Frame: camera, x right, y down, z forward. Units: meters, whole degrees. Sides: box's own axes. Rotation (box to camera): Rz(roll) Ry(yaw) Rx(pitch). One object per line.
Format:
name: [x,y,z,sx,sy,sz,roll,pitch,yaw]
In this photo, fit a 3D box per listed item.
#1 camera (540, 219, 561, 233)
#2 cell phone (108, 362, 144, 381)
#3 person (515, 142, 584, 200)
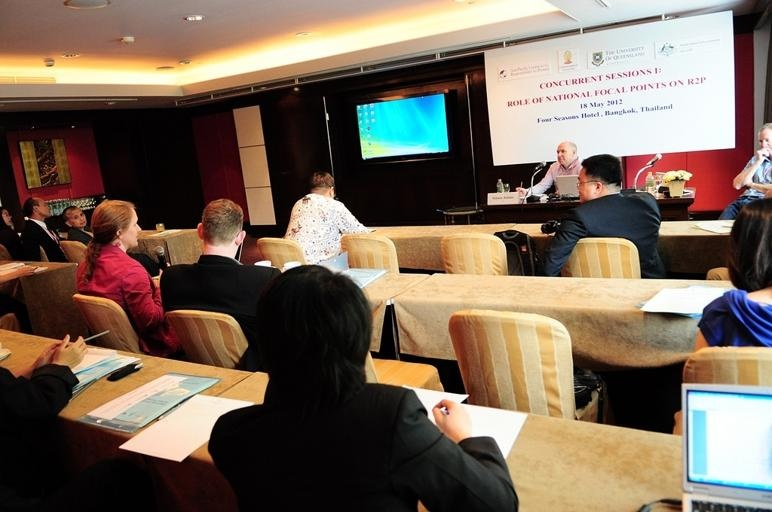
camera: [1.338,-0.247,4.281,0.137,0.067,0.181,1,10,11]
cell phone: [-1.237,0.536,2.468,0.065,0.025,0.103,3,11,22]
person: [2.174,-1.101,6.515,1.206,0.706,0.544,-12,16,-34]
